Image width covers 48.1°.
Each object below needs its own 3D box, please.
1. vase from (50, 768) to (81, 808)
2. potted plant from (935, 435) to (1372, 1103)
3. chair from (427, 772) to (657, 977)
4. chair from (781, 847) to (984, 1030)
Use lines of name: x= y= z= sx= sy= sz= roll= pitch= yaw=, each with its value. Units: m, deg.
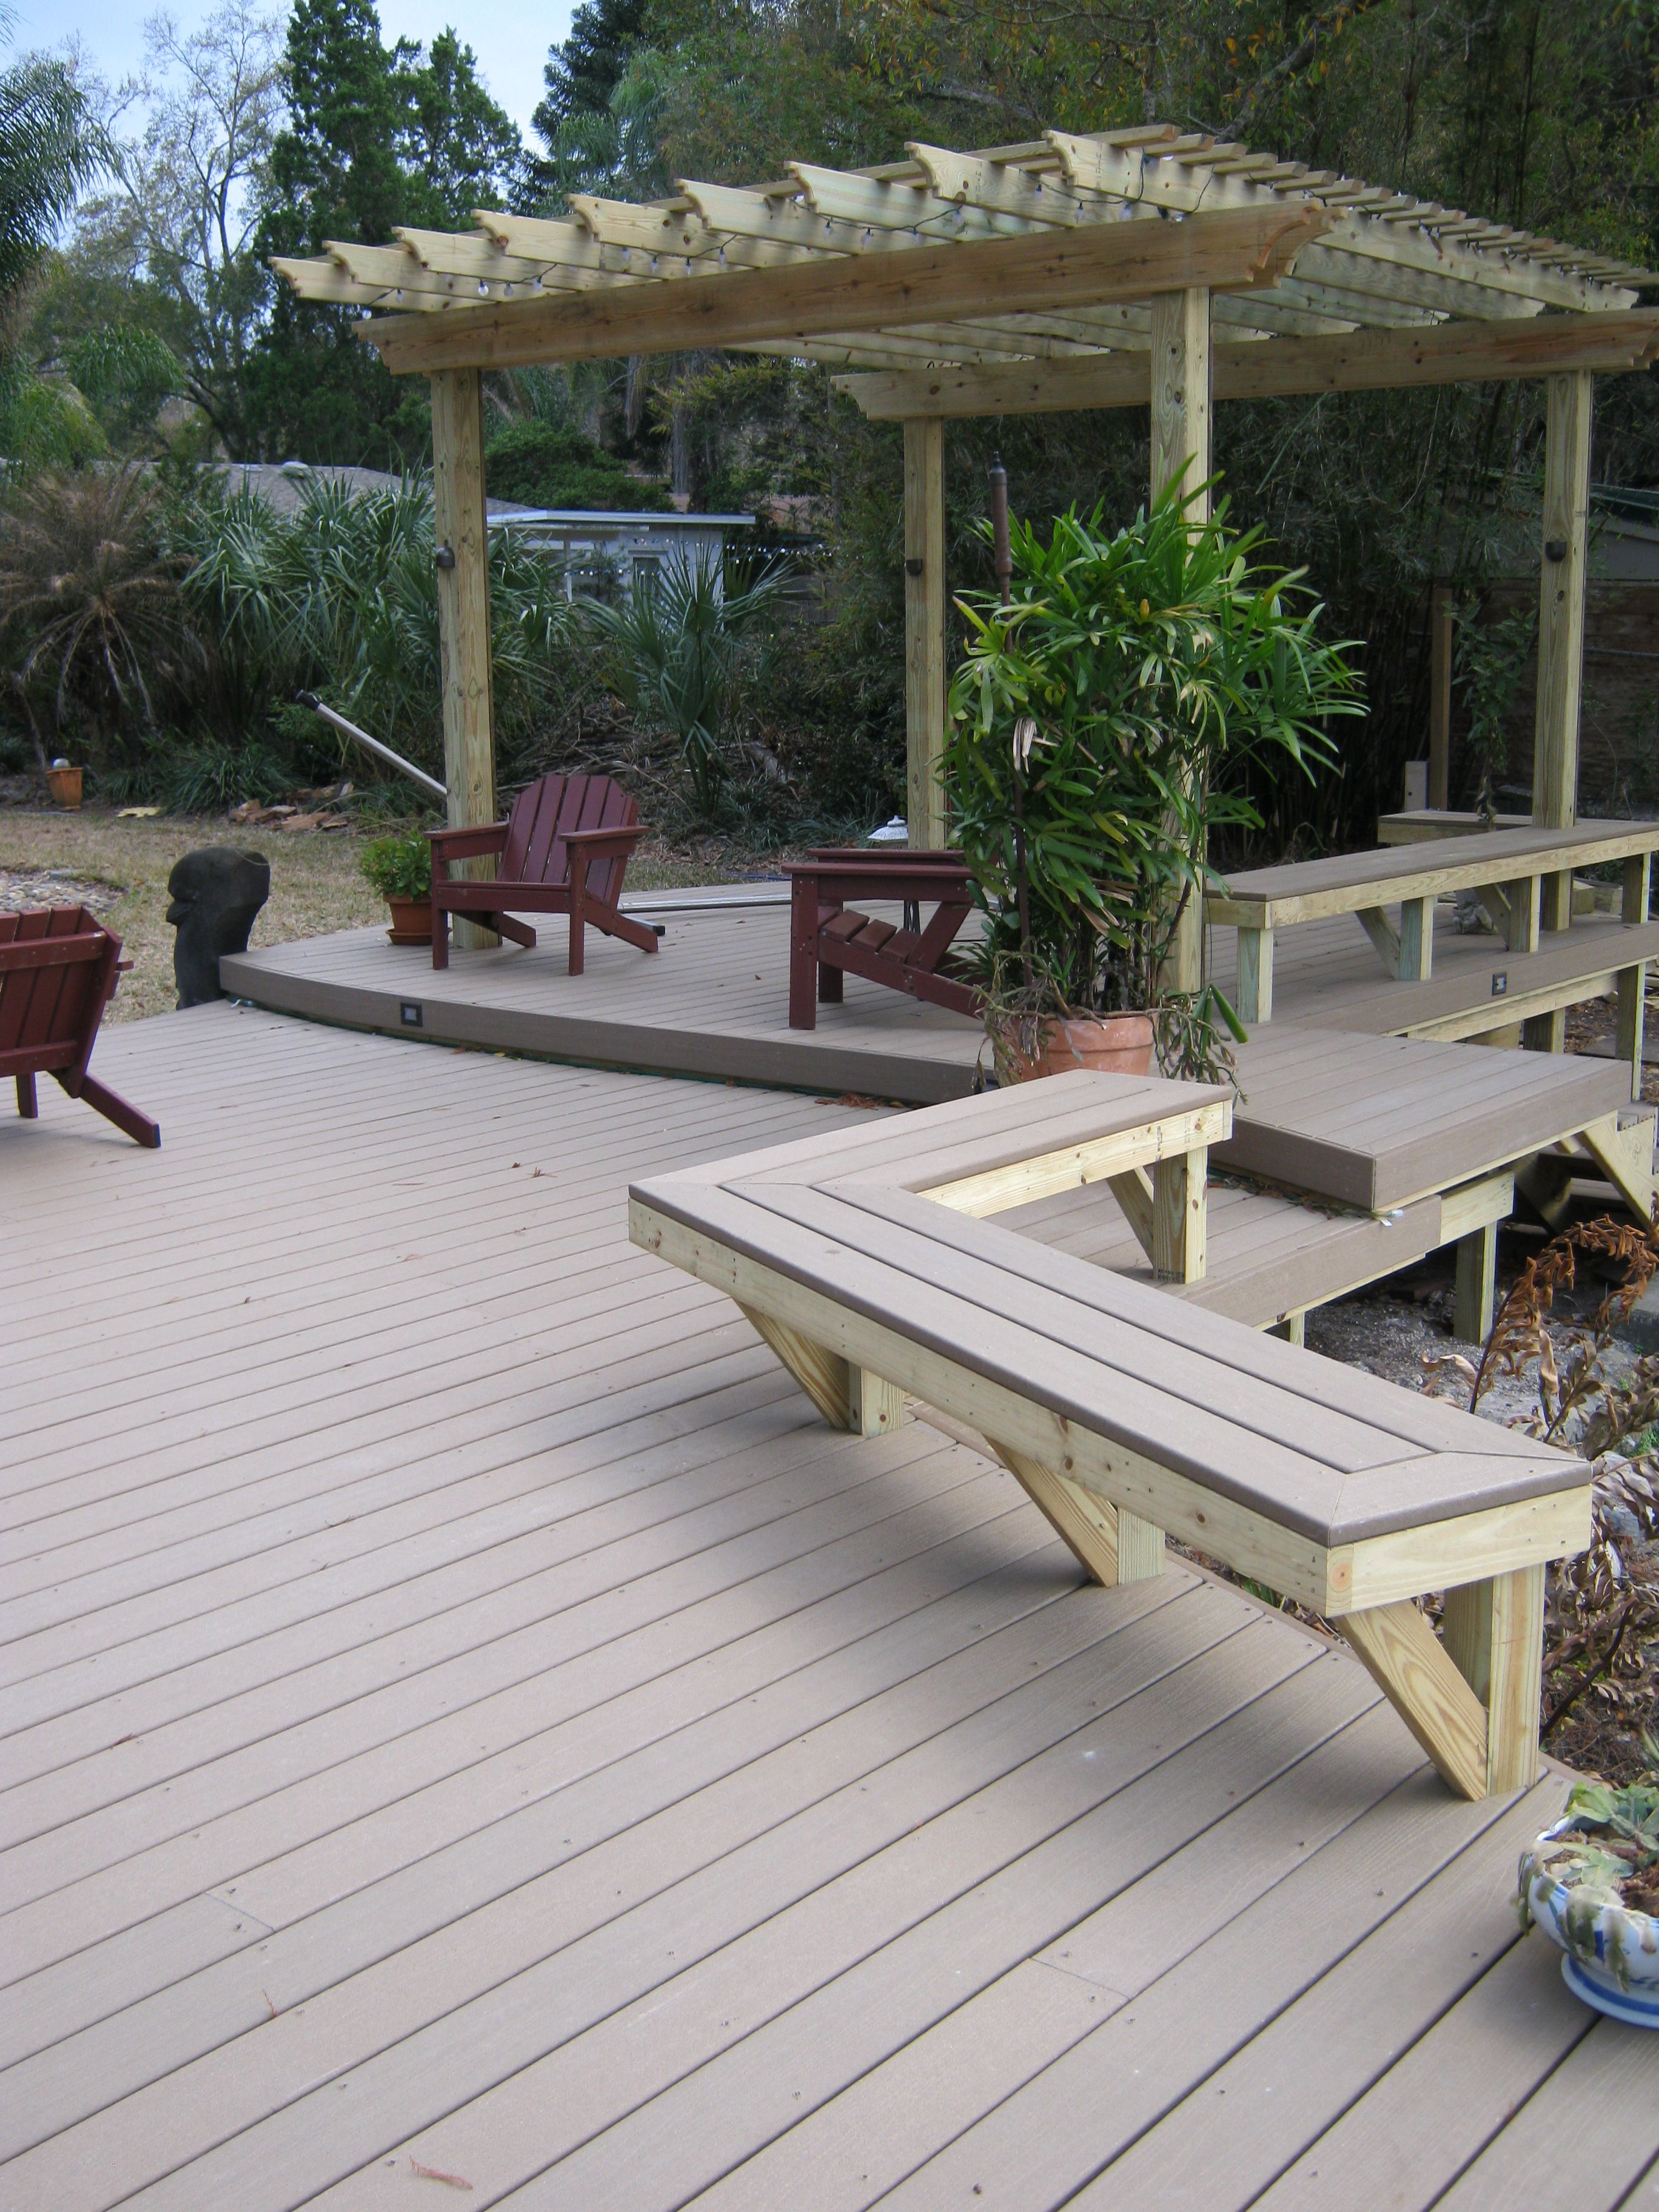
vase: x=-6.755 y=-2.809 z=16.516 sx=0.341 sy=0.241 sz=0.324 roll=-11 pitch=20 yaw=-33
potted plant: x=0.689 y=-0.748 z=4.453 sx=0.905 sy=1.480 sz=0.610 roll=-8 pitch=14 yaw=-34
chair: x=-1.095 y=-0.956 z=7.313 sx=0.805 sy=0.784 sz=0.973 roll=6 pitch=19 yaw=24
chair: x=0.149 y=-0.568 z=5.955 sx=0.680 sy=0.470 sz=0.648 roll=1 pitch=10 yaw=12
